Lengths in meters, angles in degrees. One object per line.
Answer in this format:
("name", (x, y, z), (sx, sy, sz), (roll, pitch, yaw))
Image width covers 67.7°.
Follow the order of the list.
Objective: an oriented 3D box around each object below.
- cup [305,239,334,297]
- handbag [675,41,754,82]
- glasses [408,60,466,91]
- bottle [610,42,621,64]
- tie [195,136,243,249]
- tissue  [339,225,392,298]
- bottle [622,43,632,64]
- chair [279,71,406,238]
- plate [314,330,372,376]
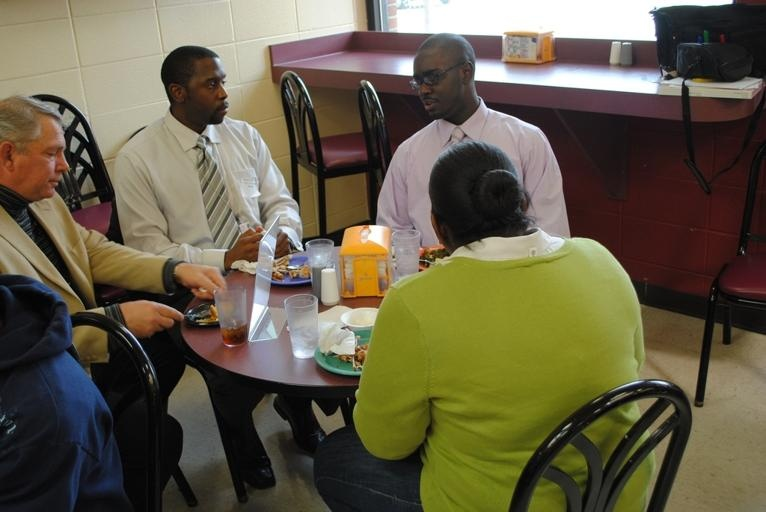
("cup", (-0.230, 0.049, 2.073), (0.122, 0.206, 0.121), (-1, 27, 0))
("handbag", (1.604, -0.943, 2.759), (0.275, 0.143, 0.219), (-5, 20, -8))
("glasses", (0.209, -0.823, 2.501), (0.148, 0.046, 0.142), (-33, 17, -35))
("bottle", (1.419, -1.235, 3.460), (0.061, 0.149, 0.066), (-3, 14, 1))
("tie", (-0.831, -0.260, 2.849), (0.173, 0.642, 0.069), (-16, 7, -21))
("tissue ", (-0.055, 0.019, 2.092), (0.156, 0.180, 0.262), (0, 27, 3))
("bottle", (1.467, -1.216, 3.424), (0.075, 0.141, 0.036), (2, 15, 21))
("chair", (-0.290, -0.721, 3.732), (0.671, 1.124, 0.633), (-13, 39, -16))
("plate", (-0.132, 0.296, 1.714), (0.138, 0.020, 0.135), (3, 33, 7))
